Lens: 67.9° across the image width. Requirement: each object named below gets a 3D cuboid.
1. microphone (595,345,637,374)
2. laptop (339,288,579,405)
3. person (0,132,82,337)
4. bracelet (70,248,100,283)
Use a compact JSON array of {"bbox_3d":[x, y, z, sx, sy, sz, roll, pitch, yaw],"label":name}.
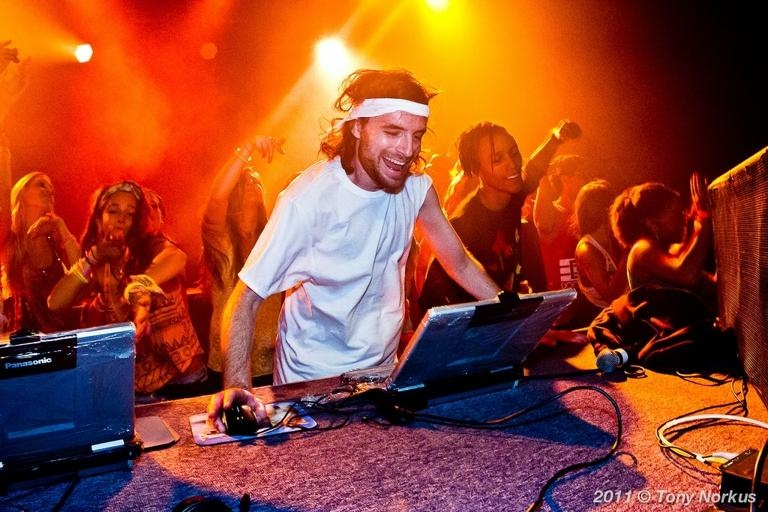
[{"bbox_3d":[0.982,0.423,2.417,0.109,0.115,0.123,19,12,35],"label":"microphone"},{"bbox_3d":[0.318,0.326,2.091,0.559,0.368,0.542,-3,12,-31],"label":"laptop"},{"bbox_3d":[-1.963,-0.021,3.264,0.386,0.903,0.124,-1,9,-29],"label":"person"},{"bbox_3d":[-1.773,0.072,3.428,0.094,0.179,0.145,36,-31,-23],"label":"bracelet"}]
